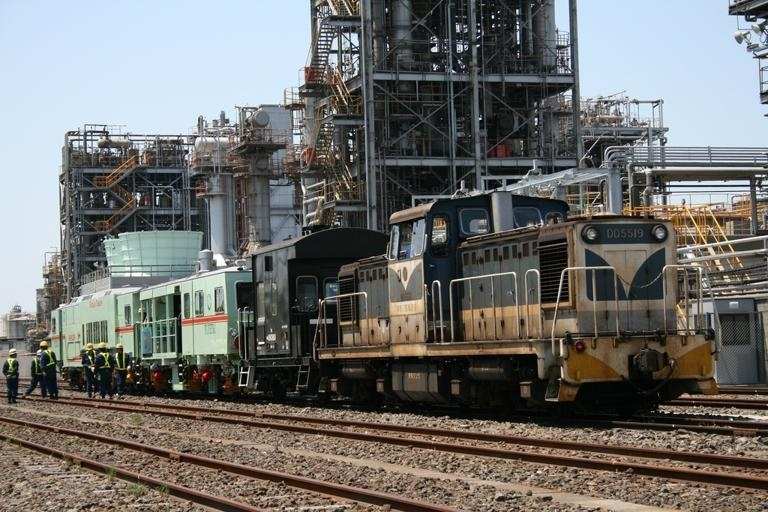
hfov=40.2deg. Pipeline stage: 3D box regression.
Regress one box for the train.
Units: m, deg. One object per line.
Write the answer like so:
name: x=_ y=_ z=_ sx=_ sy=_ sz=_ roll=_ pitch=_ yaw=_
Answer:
train: x=2.379 y=1.575 z=33.599 sx=3.694 sy=4.619 sz=23.403 roll=-3 pitch=-3 yaw=-17
